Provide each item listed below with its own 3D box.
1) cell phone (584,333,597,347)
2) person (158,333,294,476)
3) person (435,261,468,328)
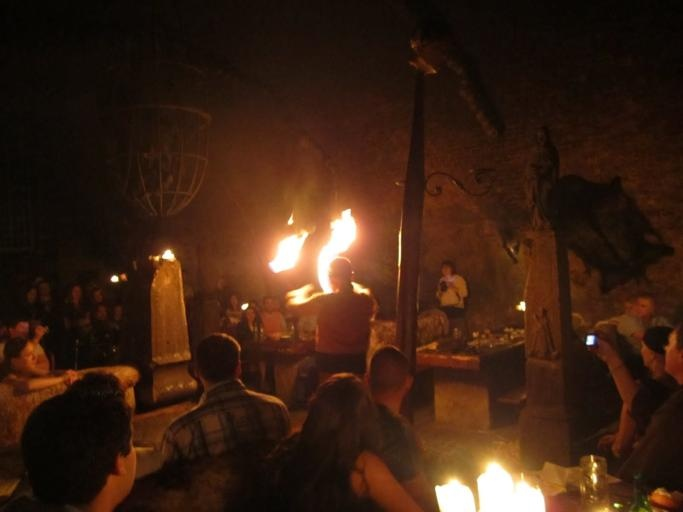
[{"bbox_3d":[2.745,0.930,6.355,0.130,0.137,0.235,1,4,20],"label":"cell phone"},{"bbox_3d":[-1.010,1.206,4.914,1.183,1.065,0.634,-3,-12,-37],"label":"person"},{"bbox_3d":[2.085,0.757,10.933,0.542,1.229,0.625,-4,-15,10],"label":"person"}]
